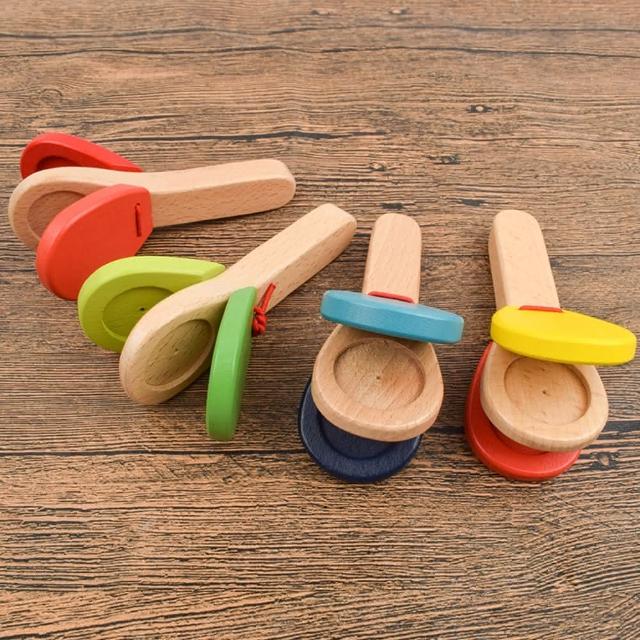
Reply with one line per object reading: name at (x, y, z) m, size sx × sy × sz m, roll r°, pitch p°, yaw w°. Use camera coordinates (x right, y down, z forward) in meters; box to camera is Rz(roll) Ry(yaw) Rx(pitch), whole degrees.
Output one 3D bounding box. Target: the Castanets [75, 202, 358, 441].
Castanets at (-0.153, -0.004, 1.432) m, size 0.357 × 0.173 × 0.493 m, roll 33°, pitch 49°, yaw 20°
